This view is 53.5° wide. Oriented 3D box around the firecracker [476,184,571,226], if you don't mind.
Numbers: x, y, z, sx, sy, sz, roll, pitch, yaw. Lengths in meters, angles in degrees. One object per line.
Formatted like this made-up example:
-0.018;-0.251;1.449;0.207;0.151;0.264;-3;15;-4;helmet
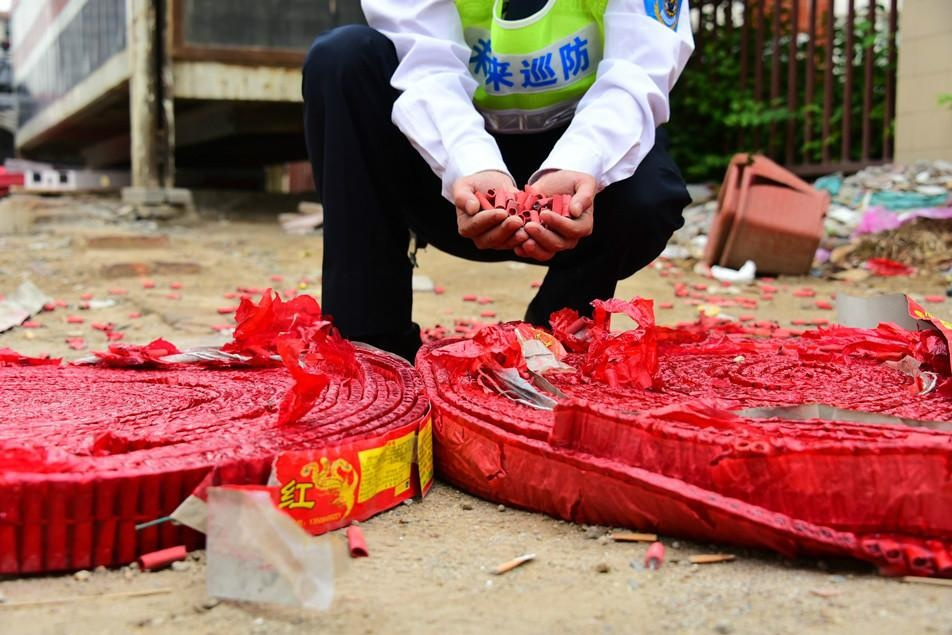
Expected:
0.117;-0.276;2.311;0.229;0.080;0.105;-2;11;-2;firecracker

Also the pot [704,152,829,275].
1.599;-0.554;4.854;0.377;0.427;0.439;-13;-35;5;pot
